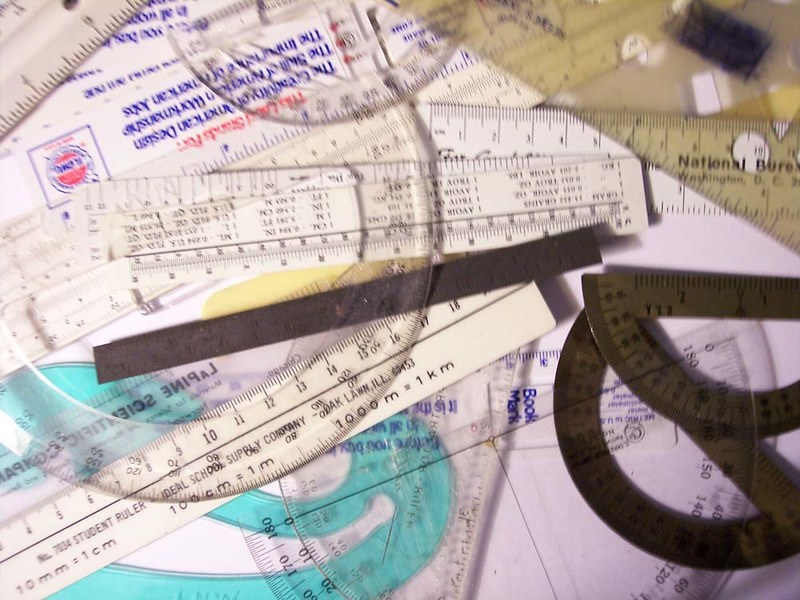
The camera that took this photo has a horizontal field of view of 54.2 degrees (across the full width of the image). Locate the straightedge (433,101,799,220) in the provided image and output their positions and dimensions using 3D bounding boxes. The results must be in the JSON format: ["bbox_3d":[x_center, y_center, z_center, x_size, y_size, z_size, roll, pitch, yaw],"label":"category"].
[{"bbox_3d":[0.628,-0.427,2.334,0.738,0.269,0.007,1,-5,-3],"label":"straightedge"}]
